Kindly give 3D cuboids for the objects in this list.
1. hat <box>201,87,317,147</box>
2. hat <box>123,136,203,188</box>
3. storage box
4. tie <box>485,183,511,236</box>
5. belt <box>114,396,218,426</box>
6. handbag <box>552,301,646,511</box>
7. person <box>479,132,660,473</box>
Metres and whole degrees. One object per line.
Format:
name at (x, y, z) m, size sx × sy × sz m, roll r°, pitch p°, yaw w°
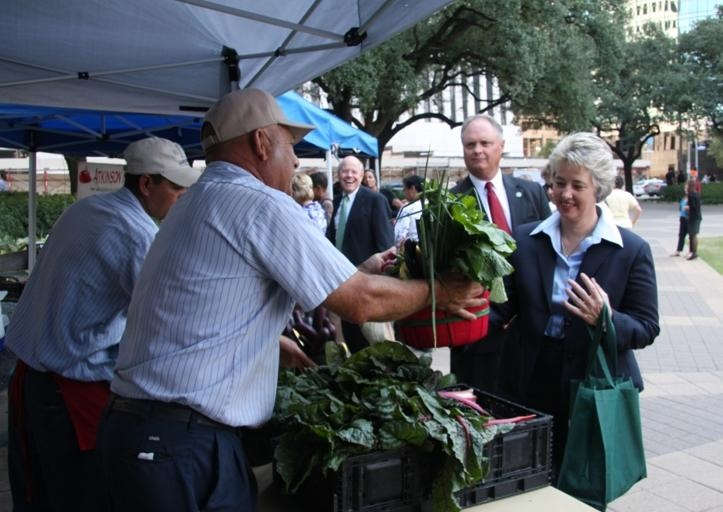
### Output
hat at (-0.488, -0.635, 2.630) m, size 0.454 × 0.250 × 0.324 m, roll -14°, pitch 5°, yaw -4°
hat at (-1.150, -0.539, 3.470) m, size 0.445 × 0.283 × 0.347 m, roll 0°, pitch 16°, yaw -15°
storage box at (0.354, 0.797, 2.428) m, size 0.706 × 0.254 × 0.433 m, roll -5°, pitch 5°, yaw -30°
tie at (0.972, -0.332, 4.143) m, size 0.048 × 0.470 × 0.113 m, roll 8°, pitch -33°, yaw -40°
belt at (-0.821, 0.642, 2.397) m, size 0.492 × 0.130 × 0.089 m, roll 0°, pitch 4°, yaw 9°
handbag at (1.260, 0.769, 3.106) m, size 0.507 × 1.025 × 0.335 m, roll -2°, pitch 4°, yaw -25°
person at (1.205, 0.599, 3.614) m, size 1.057 × 2.502 × 0.974 m, roll 1°, pitch 15°, yaw 17°
